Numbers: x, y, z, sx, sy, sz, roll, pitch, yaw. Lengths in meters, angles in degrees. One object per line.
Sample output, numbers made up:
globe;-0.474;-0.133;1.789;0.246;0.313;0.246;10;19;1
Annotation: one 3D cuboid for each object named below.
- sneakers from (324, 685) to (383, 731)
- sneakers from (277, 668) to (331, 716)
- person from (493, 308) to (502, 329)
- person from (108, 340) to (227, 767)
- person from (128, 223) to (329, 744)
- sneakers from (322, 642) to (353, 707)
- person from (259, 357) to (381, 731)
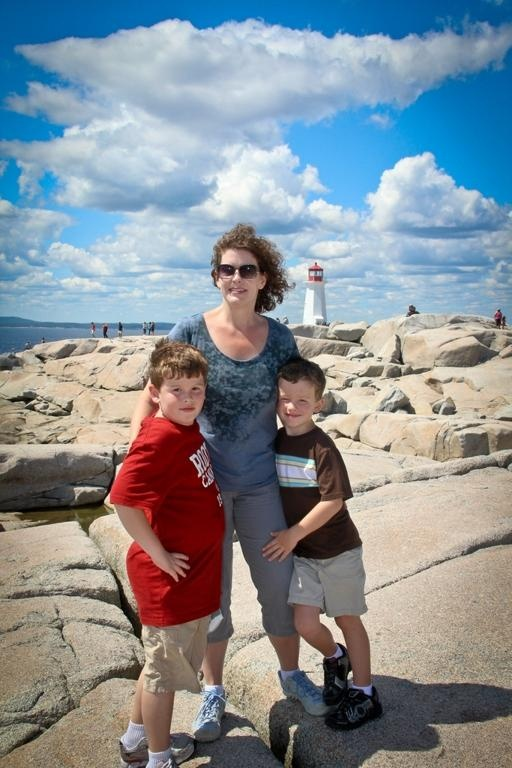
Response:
sneakers;0.353;1.171;1.916;0.251;0.127;0.097;-1;-6;-34
sneakers;0.183;1.205;2.002;0.079;0.088;0.210;-8;1;-32
person;10.791;-2.903;23.120;0.340;0.757;1.693;0;6;25
person;-0.300;0.561;1.776;0.298;1.402;0.450;-1;6;10
person;-0.076;0.424;2.119;0.968;2.052;0.610;-1;4;-11
sneakers;0.296;1.100;1.993;0.111;0.230;0.076;22;-21;-37
person;0.237;0.624;2.044;0.414;1.442;0.572;-2;6;0
